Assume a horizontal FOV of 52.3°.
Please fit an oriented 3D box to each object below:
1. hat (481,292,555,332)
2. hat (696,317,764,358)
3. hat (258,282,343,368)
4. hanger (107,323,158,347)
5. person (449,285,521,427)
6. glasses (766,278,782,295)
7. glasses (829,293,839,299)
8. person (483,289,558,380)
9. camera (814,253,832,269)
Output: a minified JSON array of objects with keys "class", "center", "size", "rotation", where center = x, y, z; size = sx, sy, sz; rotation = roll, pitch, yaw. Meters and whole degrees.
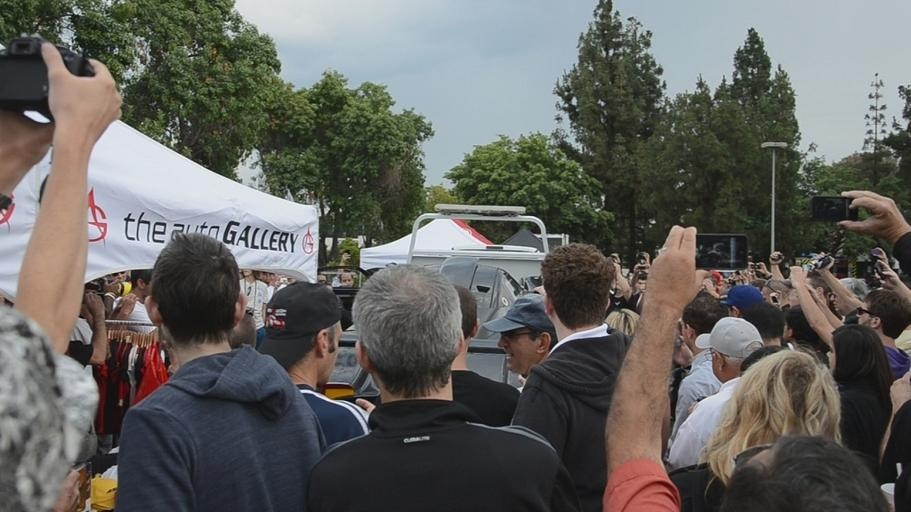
[{"class":"hat","center":[0.641,0.525,8.819],"size":[0.746,0.324,0.458],"rotation":[6,8,-8]},{"class":"hat","center":[2.663,0.806,8.848],"size":[0.473,0.356,0.666],"rotation":[5,-2,-17]},{"class":"hat","center":[-1.263,0.550,7.695],"size":[0.516,0.383,0.774],"rotation":[-1,17,18]},{"class":"hanger","center":[-3.479,0.854,9.985],"size":[0.332,0.103,0.333],"rotation":[-3,-24,34]},{"class":"person","center":[0.257,0.877,8.059],"size":[0.715,1.090,0.320],"rotation":[7,-9,-8]},{"class":"glasses","center":[4.355,0.411,12.539],"size":[0.148,0.181,0.186],"rotation":[-16,-29,32]},{"class":"glasses","center":[4.686,0.490,11.382],"size":[0.110,0.106,0.080],"rotation":[9,-11,-35]},{"class":"person","center":[0.634,0.787,8.885],"size":[0.868,0.798,0.567],"rotation":[10,4,-13]},{"class":"camera","center":[4.276,0.049,10.659],"size":[0.153,0.075,0.196],"rotation":[11,-21,-3]}]
